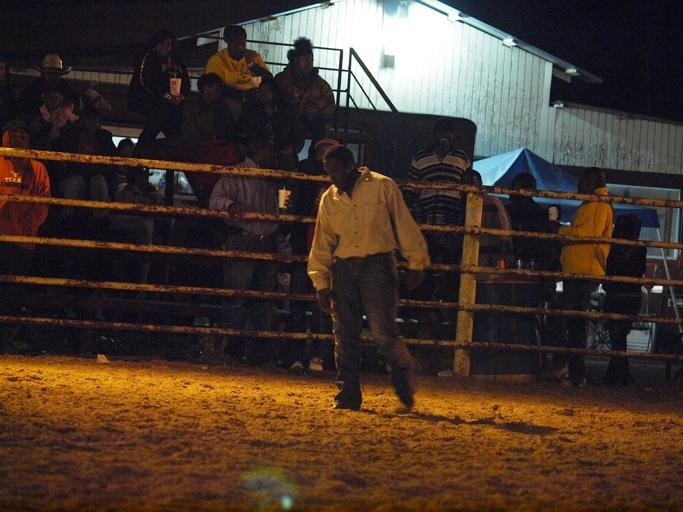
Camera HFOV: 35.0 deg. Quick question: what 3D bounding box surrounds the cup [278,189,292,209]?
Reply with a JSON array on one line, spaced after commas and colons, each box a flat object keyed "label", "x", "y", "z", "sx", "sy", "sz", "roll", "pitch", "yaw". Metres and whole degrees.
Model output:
[{"label": "cup", "x": -0.714, "y": -0.736, "z": 13.924, "sx": 0.193, "sy": 0.250, "sz": 0.097, "roll": 9, "pitch": -7, "yaw": -41}]

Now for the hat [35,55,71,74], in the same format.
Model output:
[{"label": "hat", "x": -4.226, "y": -2.746, "z": 15.578, "sx": 0.437, "sy": 0.177, "sz": 0.403, "roll": 5, "pitch": 8, "yaw": 38}]
